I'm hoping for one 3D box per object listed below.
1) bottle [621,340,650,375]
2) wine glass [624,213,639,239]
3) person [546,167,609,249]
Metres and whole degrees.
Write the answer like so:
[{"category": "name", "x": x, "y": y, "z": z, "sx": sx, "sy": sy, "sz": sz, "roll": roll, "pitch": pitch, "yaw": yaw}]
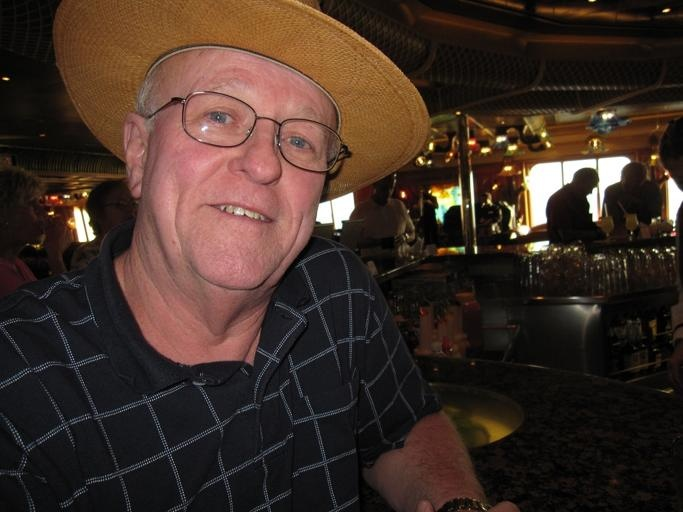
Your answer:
[{"category": "bottle", "x": 1.938, "y": 0.676, "z": 3.861, "sx": 0.238, "sy": 0.206, "sz": 0.082, "roll": -2, "pitch": 5, "yaw": -20}, {"category": "wine glass", "x": 3.049, "y": -0.331, "z": 6.097, "sx": 0.132, "sy": 0.277, "sz": 0.591, "roll": 0, "pitch": 11, "yaw": 27}, {"category": "person", "x": 2.454, "y": -0.386, "z": 5.989, "sx": 0.589, "sy": 1.026, "sz": 0.619, "roll": 1, "pitch": -9, "yaw": -1}]
